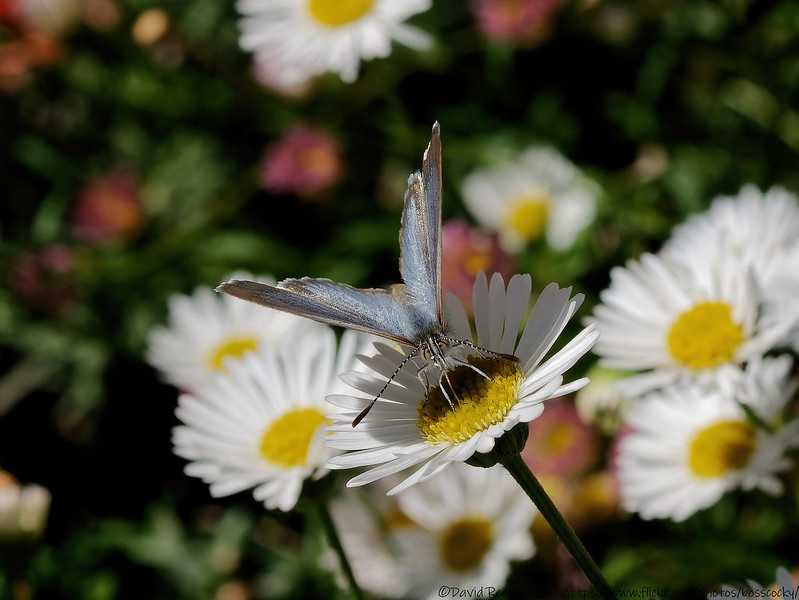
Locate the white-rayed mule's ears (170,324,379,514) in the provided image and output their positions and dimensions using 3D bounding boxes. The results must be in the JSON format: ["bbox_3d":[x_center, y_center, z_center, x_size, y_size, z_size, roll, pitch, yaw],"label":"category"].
[{"bbox_3d":[-0.346,0.302,2.243,0.387,0.442,0.557,-13,104,-31],"label":"white-rayed mule's ears"}]

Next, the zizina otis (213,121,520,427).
[{"bbox_3d":[0.048,0.053,1.913,0.684,0.366,0.616,-46,37,-6],"label":"zizina otis"}]
